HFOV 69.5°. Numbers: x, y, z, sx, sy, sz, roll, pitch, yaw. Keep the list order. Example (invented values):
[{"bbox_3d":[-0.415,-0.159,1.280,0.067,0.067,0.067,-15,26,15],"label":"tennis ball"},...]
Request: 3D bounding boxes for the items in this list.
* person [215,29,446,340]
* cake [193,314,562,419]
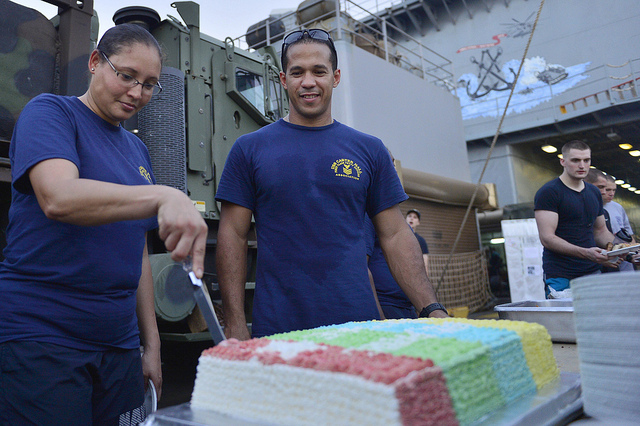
[{"bbox_3d":[0.016,-0.181,2.421,1.095,1.623,0.546,-1,5,-14],"label":"person"},{"bbox_3d":[0.245,0.541,1.643,1.339,0.229,0.601,-2,6,-20],"label":"cake"}]
